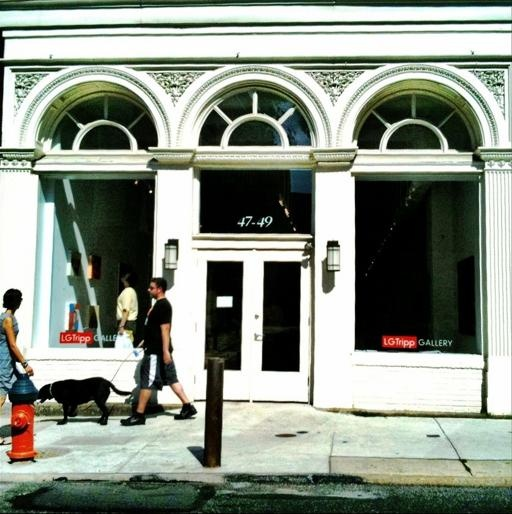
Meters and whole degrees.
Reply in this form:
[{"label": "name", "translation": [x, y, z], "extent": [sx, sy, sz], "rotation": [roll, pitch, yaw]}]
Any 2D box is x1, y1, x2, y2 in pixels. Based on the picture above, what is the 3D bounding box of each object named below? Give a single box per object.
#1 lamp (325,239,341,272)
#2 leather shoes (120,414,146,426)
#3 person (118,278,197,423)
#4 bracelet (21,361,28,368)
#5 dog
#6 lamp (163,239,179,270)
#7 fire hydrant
[{"label": "lamp", "translation": [1.181, 0.019, 11.480], "extent": [0.209, 0.483, 0.228], "rotation": [1, -21, 3]}, {"label": "leather shoes", "translation": [-1.691, 2.214, 10.316], "extent": [0.280, 0.140, 0.153], "rotation": [4, -7, -9]}, {"label": "person", "translation": [-1.381, 1.289, 10.467], "extent": [0.989, 2.006, 0.545], "rotation": [0, -2, -19]}, {"label": "bracelet", "translation": [-2.757, 1.270, 8.998], "extent": [0.054, 0.082, 0.078], "rotation": [2, 2, 29]}, {"label": "dog", "translation": [-2.412, 1.965, 10.283], "extent": [1.015, 0.679, 0.522], "rotation": [0, -1, -13]}, {"label": "lamp", "translation": [-1.310, -0.057, 11.628], "extent": [0.191, 0.452, 0.169], "rotation": [0, -1, -4]}, {"label": "fire hydrant", "translation": [-2.635, 1.799, 8.457], "extent": [0.321, 0.953, 0.407], "rotation": [0, -2, -19]}]
